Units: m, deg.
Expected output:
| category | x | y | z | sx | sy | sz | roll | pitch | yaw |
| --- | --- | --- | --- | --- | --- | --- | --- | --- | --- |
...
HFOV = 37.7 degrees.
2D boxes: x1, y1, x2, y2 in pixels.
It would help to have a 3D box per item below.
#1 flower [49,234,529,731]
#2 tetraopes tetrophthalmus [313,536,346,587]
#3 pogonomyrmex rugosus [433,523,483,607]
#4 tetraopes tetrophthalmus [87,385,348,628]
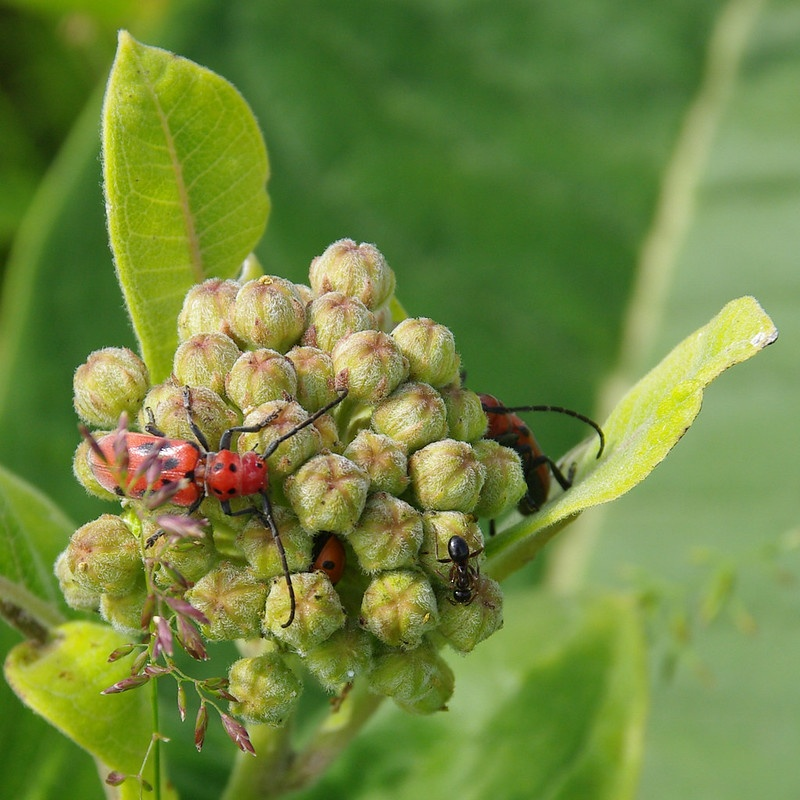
| category | x | y | z | sx | sy | sz | roll | pitch | yaw |
| --- | --- | --- | --- | --- | --- | --- | --- | --- | --- |
| flower | -0.149 | 0.157 | 2.290 | 0.750 | 0.879 | 0.692 | -4 | 1 | 11 |
| tetraopes tetrophthalmus | -0.116 | 0.279 | 2.032 | 0.022 | 0.078 | 0.062 | -2 | -15 | 42 |
| pogonomyrmex rugosus | 0.095 | 0.289 | 2.015 | 0.082 | 0.120 | 0.035 | 14 | 30 | 3 |
| tetraopes tetrophthalmus | -0.344 | 0.131 | 1.981 | 0.341 | 0.411 | 0.307 | -1 | 6 | -9 |
